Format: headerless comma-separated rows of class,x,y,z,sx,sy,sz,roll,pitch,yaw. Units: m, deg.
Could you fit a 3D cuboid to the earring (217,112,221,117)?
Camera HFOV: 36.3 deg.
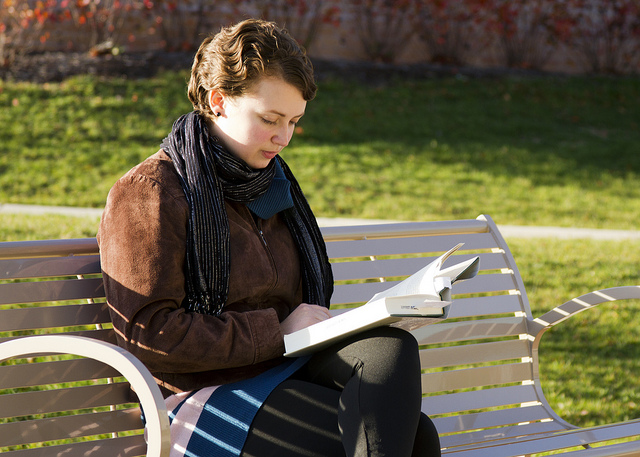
earring,-0.747,-0.846,7.229,0.032,0.031,0.009,-1,-4,14

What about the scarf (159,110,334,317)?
scarf,-0.558,-0.111,7.280,1.100,1.453,0.752,-6,19,-15
